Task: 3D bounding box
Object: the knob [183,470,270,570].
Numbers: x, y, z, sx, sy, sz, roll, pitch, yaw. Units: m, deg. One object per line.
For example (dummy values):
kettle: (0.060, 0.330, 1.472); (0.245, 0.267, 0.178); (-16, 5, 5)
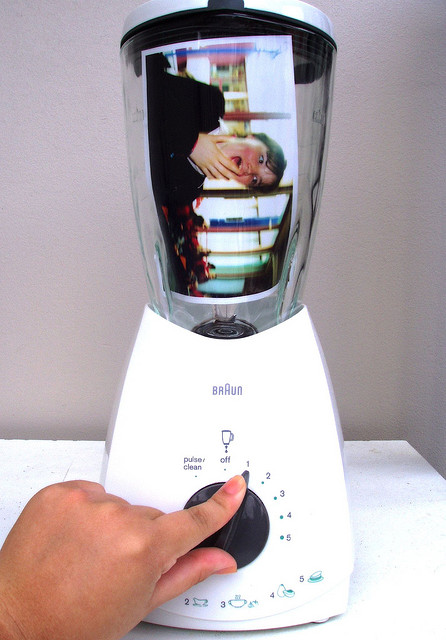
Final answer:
knob: (0.004, 0.140, 0.371); (0.056, 0.050, 0.040); (-8, 36, -9)
